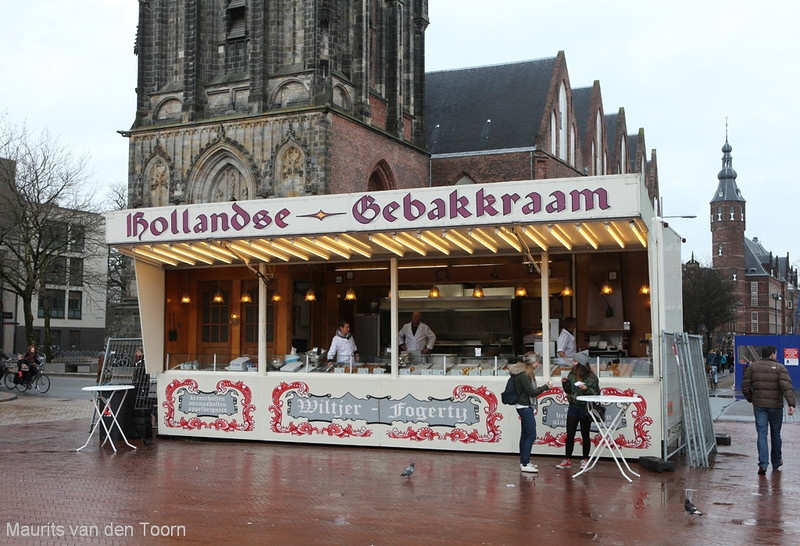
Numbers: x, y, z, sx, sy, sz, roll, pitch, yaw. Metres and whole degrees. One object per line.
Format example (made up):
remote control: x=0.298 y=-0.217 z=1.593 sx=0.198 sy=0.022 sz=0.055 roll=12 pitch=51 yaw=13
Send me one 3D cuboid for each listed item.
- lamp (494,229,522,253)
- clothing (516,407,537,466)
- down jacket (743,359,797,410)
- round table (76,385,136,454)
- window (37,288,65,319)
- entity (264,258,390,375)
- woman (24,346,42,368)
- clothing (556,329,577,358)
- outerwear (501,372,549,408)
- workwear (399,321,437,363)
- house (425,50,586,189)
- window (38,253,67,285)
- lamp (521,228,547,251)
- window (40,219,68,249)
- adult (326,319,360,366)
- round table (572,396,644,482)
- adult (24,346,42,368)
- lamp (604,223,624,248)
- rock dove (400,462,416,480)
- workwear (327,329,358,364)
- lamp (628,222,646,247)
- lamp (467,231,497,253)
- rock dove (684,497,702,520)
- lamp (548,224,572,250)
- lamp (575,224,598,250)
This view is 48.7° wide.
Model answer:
lamp: x=2.357 y=-0.710 z=19.382 sx=0.488 sy=0.609 sz=2.179 roll=1 pitch=4 yaw=11
clothing: x=2.542 y=3.293 z=18.008 sx=0.356 sy=1.182 sz=0.505 roll=1 pitch=4 yaw=13
down jacket: x=7.493 y=2.305 z=18.219 sx=0.965 sy=1.012 sz=0.625 roll=2 pitch=5 yaw=23
round table: x=-6.871 y=3.432 z=20.929 sx=1.465 sy=1.762 sz=1.520 roll=-1 pitch=-10 yaw=0
window: x=-23.434 y=2.022 z=60.029 sx=0.191 sy=1.794 sz=2.397 roll=-3 pitch=-4 yaw=20
entity: x=-2.239 y=0.923 z=24.724 sx=4.258 sy=4.386 sz=2.429 roll=0 pitch=-6 yaw=8
woman: x=-13.928 y=3.302 z=33.919 sx=0.527 sy=0.805 sz=1.058 roll=-2 pitch=5 yaw=-22
clothing: x=3.799 y=1.683 z=20.680 sx=0.508 sy=0.791 sz=0.957 roll=-2 pitch=1 yaw=19
outerwear: x=2.500 y=2.355 z=17.986 sx=0.789 sy=0.663 sz=0.618 roll=-4 pitch=1 yaw=-10
workwear: x=0.415 y=1.763 z=23.143 sx=0.859 sy=1.437 sz=0.762 roll=-2 pitch=-9 yaw=16
house: x=5.343 y=-7.705 z=46.045 sx=9.172 sy=6.121 sz=9.423 roll=-2 pitch=-2 yaw=29
window: x=-19.739 y=-0.258 z=50.779 sx=1.829 sy=1.848 sz=1.037 roll=-3 pitch=-9 yaw=20
lamp: x=2.879 y=-0.731 z=19.148 sx=0.463 sy=0.597 sz=1.753 roll=1 pitch=4 yaw=13
window: x=-18.571 y=-1.766 z=48.276 sx=2.133 sy=2.249 sz=0.527 roll=11 pitch=5 yaw=39
adult: x=-1.452 y=1.762 z=22.357 sx=0.359 sy=1.412 sz=0.876 roll=-18 pitch=-19 yaw=38
round table: x=4.066 y=3.354 z=18.174 sx=1.532 sy=1.833 sz=1.630 roll=2 pitch=-11 yaw=0
adult: x=-13.966 y=3.297 z=34.016 sx=0.527 sy=0.808 sz=1.267 roll=-2 pitch=5 yaw=-22
lamp: x=4.624 y=-0.801 z=19.172 sx=0.345 sy=0.596 sz=2.195 roll=1 pitch=5 yaw=15
rock dove: x=0.220 y=3.796 z=16.945 sx=0.195 sy=0.310 sz=0.484 roll=-2 pitch=-5 yaw=41
workwear: x=-1.418 y=1.817 z=21.816 sx=0.405 sy=1.429 sz=0.659 roll=-15 pitch=-14 yaw=40
lamp: x=5.001 y=-0.848 z=18.832 sx=0.084 sy=0.112 sz=0.747 roll=5 pitch=-26 yaw=38
lamp: x=1.843 y=-0.688 z=19.689 sx=0.426 sy=0.550 sz=2.102 roll=1 pitch=4 yaw=13
rock dove: x=5.015 y=4.098 z=15.308 sx=0.189 sy=0.461 sz=0.346 roll=12 pitch=-25 yaw=-20
lamp: x=3.429 y=-0.755 z=19.034 sx=0.456 sy=0.611 sz=2.160 roll=1 pitch=4 yaw=11
lamp: x=4.015 y=-0.775 z=19.123 sx=0.408 sy=0.610 sz=2.088 roll=1 pitch=4 yaw=13
